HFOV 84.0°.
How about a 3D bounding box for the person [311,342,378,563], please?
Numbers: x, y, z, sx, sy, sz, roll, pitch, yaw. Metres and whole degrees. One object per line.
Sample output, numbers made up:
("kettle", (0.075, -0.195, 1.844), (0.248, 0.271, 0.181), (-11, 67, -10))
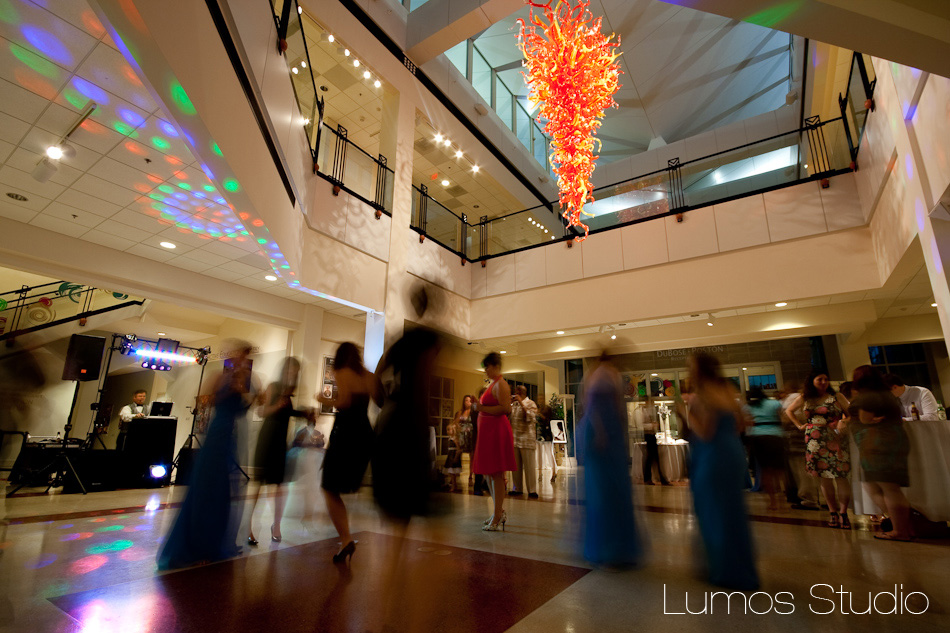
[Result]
("person", (-1.160, 1.280, 4.785), (0.443, 2.094, 0.610), (2, -3, -36))

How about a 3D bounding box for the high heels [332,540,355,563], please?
("high heels", (-1.242, 2.240, 5.020), (0.260, 0.132, 0.136), (-30, -18, 33))

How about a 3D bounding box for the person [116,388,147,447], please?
("person", (-6.326, 1.827, 9.716), (0.425, 0.893, 1.500), (2, -2, -33))

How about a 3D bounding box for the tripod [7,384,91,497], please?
("tripod", (-7.970, 2.285, 9.751), (0.768, 1.526, 0.764), (-8, -30, 15))

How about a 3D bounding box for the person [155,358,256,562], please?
("person", (-2.598, 1.324, 5.196), (0.809, 2.060, 0.376), (1, -3, -30))

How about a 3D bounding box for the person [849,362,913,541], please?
("person", (4.494, 1.472, 5.875), (0.503, 1.840, 0.591), (-2, -3, 39))

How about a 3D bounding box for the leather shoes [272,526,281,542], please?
("leather shoes", (-2.131, 2.323, 5.648), (0.093, 0.122, 0.243), (1, -2, -21))

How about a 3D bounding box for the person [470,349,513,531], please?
("person", (0.221, 1.469, 6.278), (0.480, 2.117, 0.758), (0, -2, 0))

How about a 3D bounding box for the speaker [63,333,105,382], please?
("speaker", (-8.155, 1.005, 10.946), (0.627, 1.054, 0.654), (-29, -33, 17))

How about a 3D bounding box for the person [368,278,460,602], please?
("person", (-0.553, 1.018, 4.436), (0.639, 2.613, 0.685), (1, -3, -11))

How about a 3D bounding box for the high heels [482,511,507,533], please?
("high heels", (0.219, 2.428, 6.159), (0.140, 0.227, 0.424), (-13, -32, 16))

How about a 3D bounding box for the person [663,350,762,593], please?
("person", (2.169, 1.317, 4.677), (0.561, 2.014, 0.377), (-1, -3, 28))

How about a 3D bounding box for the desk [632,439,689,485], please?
("desk", (3.695, 2.749, 10.569), (1.002, 0.763, 1.032), (1, -23, 12))

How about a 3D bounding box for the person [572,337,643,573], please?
("person", (1.305, 1.351, 5.151), (0.598, 2.044, 0.428), (-1, -3, 13))
